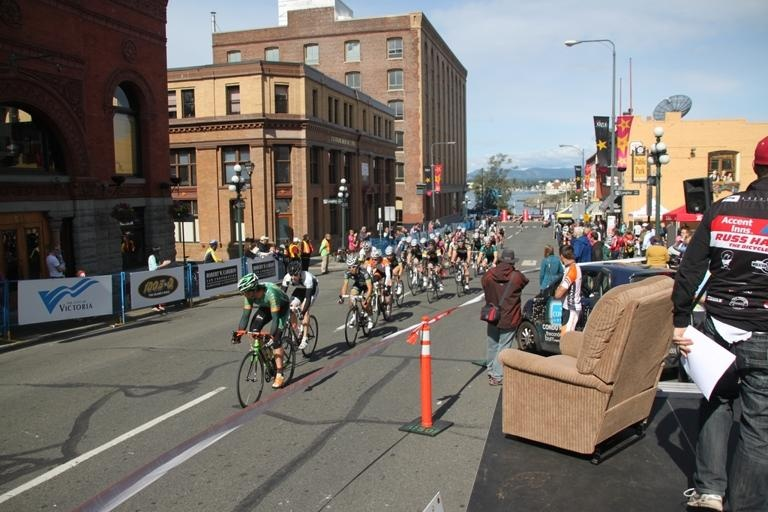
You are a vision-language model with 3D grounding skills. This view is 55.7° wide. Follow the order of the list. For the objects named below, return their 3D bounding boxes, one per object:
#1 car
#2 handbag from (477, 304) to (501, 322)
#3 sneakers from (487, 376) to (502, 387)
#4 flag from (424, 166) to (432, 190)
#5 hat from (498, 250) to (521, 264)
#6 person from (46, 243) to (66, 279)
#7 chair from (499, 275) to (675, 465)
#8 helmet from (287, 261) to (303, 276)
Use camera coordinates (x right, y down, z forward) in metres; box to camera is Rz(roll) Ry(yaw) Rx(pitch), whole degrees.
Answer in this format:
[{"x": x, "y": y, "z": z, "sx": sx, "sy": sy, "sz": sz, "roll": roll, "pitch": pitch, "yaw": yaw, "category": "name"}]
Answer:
[{"x": 4.396, "y": 1.195, "z": 15.767, "sx": 1.913, "sy": 1.804, "sz": 3.056, "roll": -2, "pitch": 5, "yaw": -28, "category": "car"}, {"x": 2.086, "y": 1.173, "z": 14.769, "sx": 0.281, "sy": 0.537, "sz": 0.524, "roll": 11, "pitch": -8, "yaw": -17, "category": "handbag"}, {"x": 2.264, "y": 2.600, "z": 15.043, "sx": 0.323, "sy": 0.166, "sz": 0.125, "roll": -4, "pitch": 4, "yaw": -1, "category": "sneakers"}, {"x": 4.285, "y": -7.462, "z": 71.438, "sx": 0.619, "sy": 2.183, "sz": 0.984, "roll": -1, "pitch": 8, "yaw": 5, "category": "flag"}, {"x": 3.436, "y": 0.040, "z": 20.006, "sx": 0.651, "sy": 0.307, "sz": 0.757, "roll": 0, "pitch": 5, "yaw": 6, "category": "hat"}, {"x": -10.982, "y": 0.196, "z": 24.325, "sx": 0.498, "sy": 0.969, "sz": 2.174, "roll": -6, "pitch": 10, "yaw": -25, "category": "person"}, {"x": 3.650, "y": 1.901, "z": 12.654, "sx": 2.631, "sy": 3.610, "sz": 2.733, "roll": -3, "pitch": 2, "yaw": -45, "category": "chair"}, {"x": -2.135, "y": 0.241, "z": 17.313, "sx": 0.255, "sy": 0.334, "sz": 0.365, "roll": 11, "pitch": 51, "yaw": 8, "category": "helmet"}]
